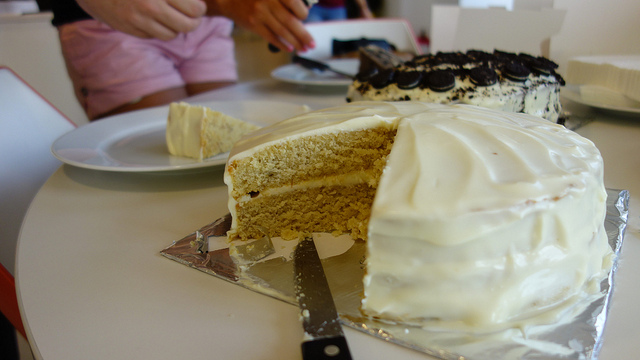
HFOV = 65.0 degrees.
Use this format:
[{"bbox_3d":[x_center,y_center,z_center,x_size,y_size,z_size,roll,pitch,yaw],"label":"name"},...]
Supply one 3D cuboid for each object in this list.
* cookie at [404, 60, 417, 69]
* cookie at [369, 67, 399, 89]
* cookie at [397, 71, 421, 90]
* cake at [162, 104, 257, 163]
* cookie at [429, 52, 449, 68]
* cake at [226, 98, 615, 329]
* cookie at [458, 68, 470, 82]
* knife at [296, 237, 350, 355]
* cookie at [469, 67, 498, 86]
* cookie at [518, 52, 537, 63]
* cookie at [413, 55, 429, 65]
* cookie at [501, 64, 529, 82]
[{"bbox_3d":[0.391,-0.498,2.166,0.046,0.011,0.045,10,28,15],"label":"cookie"},{"bbox_3d":[0.276,-0.436,2.145,0.126,0.063,0.091,-4,29,5],"label":"cookie"},{"bbox_3d":[0.373,-0.417,2.098,0.095,0.057,0.075,-1,29,10],"label":"cookie"},{"bbox_3d":[-0.528,-0.243,2.489,0.344,0.210,0.556,-1,4,36],"label":"cake"},{"bbox_3d":[0.514,-0.524,2.184,0.086,0.022,0.080,-29,23,-25],"label":"cookie"},{"bbox_3d":[0.354,0.077,1.841,1.268,0.515,0.875,12,34,31],"label":"cake"},{"bbox_3d":[0.598,-0.442,2.088,0.045,0.034,0.055,-1,29,10],"label":"cookie"},{"bbox_3d":[-0.013,0.364,1.646,0.097,0.028,0.398,-6,44,-7],"label":"knife"},{"bbox_3d":[0.670,-0.430,2.068,0.091,0.021,0.088,-21,38,-27],"label":"cookie"},{"bbox_3d":[0.910,-0.541,2.219,0.069,0.017,0.072,18,18,18],"label":"cookie"},{"bbox_3d":[0.444,-0.527,2.203,0.069,0.016,0.064,-5,25,-2],"label":"cookie"},{"bbox_3d":[0.820,-0.448,2.098,0.086,0.027,0.082,-14,24,-23],"label":"cookie"}]
